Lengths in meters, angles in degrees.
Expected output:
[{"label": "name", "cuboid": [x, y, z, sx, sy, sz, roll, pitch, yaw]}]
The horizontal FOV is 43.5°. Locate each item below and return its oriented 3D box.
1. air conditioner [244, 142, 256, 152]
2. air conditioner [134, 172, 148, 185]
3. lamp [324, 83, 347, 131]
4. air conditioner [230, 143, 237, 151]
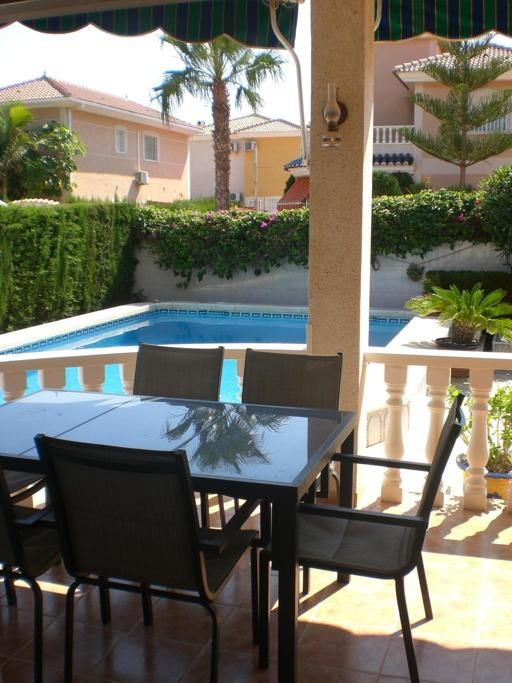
[{"label": "air conditioner", "cuboid": [-0.273, -8.700, 28.452, 0.285, 0.403, 0.714, -6, 9, -32]}, {"label": "air conditioner", "cuboid": [-4.071, -5.785, 22.544, 0.384, 0.395, 0.214, 9, 16, 31]}, {"label": "lamp", "cuboid": [0.374, -1.135, 3.102, 0.099, 0.219, 0.148, 3, 9, 25]}, {"label": "air conditioner", "cuboid": [-0.991, -8.701, 28.402, 0.223, 0.439, 0.699, 0, 8, 6]}]
